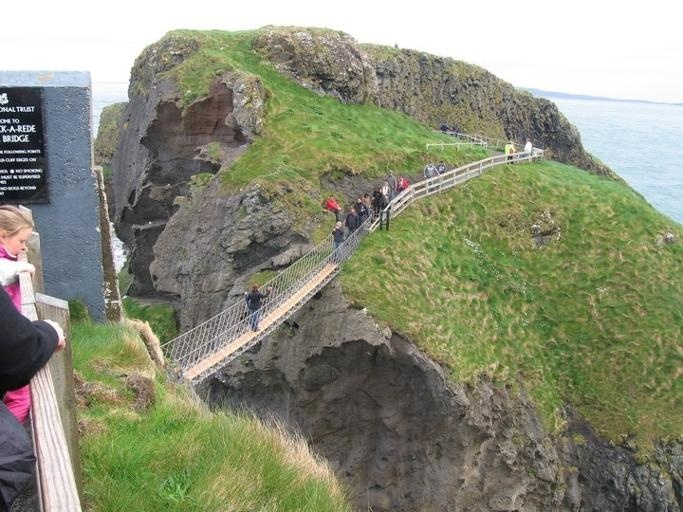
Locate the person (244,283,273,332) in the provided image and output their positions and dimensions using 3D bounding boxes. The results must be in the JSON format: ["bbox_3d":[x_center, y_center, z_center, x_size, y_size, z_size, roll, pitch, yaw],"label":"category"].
[{"bbox_3d":[-3.453,2.199,27.115,1.388,2.438,0.734,17,38,13],"label":"person"}]
